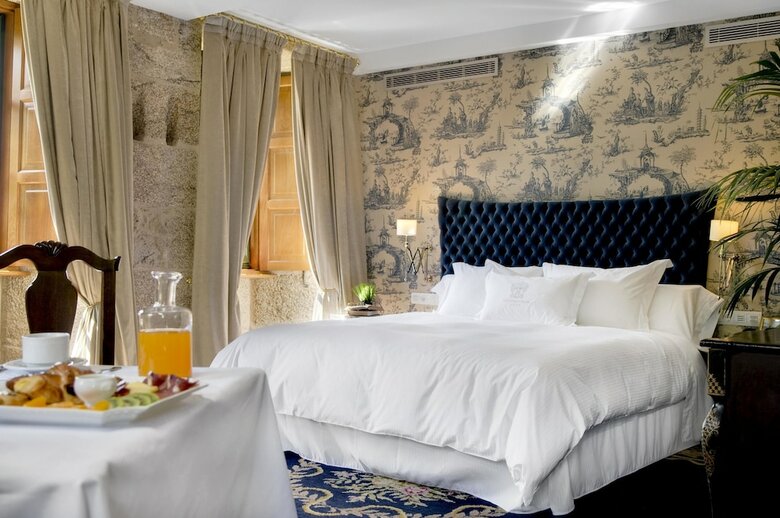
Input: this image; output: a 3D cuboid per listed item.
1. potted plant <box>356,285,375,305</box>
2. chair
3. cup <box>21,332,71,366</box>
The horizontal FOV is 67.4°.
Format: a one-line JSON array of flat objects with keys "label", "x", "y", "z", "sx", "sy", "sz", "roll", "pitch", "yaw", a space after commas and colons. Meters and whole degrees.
[{"label": "potted plant", "x": -0.259, "y": 0.388, "z": 6.448, "sx": 0.208, "sy": 0.241, "sz": 0.224, "roll": 5, "pitch": -6, "yaw": -39}, {"label": "chair", "x": -1.514, "y": 0.204, "z": 2.736, "sx": 0.437, "sy": 0.563, "sz": 0.322, "roll": -1, "pitch": 6, "yaw": -23}, {"label": "cup", "x": -1.212, "y": 0.316, "z": 2.058, "sx": 0.121, "sy": 0.091, "sz": 0.122, "roll": 0, "pitch": -6, "yaw": 0}]
